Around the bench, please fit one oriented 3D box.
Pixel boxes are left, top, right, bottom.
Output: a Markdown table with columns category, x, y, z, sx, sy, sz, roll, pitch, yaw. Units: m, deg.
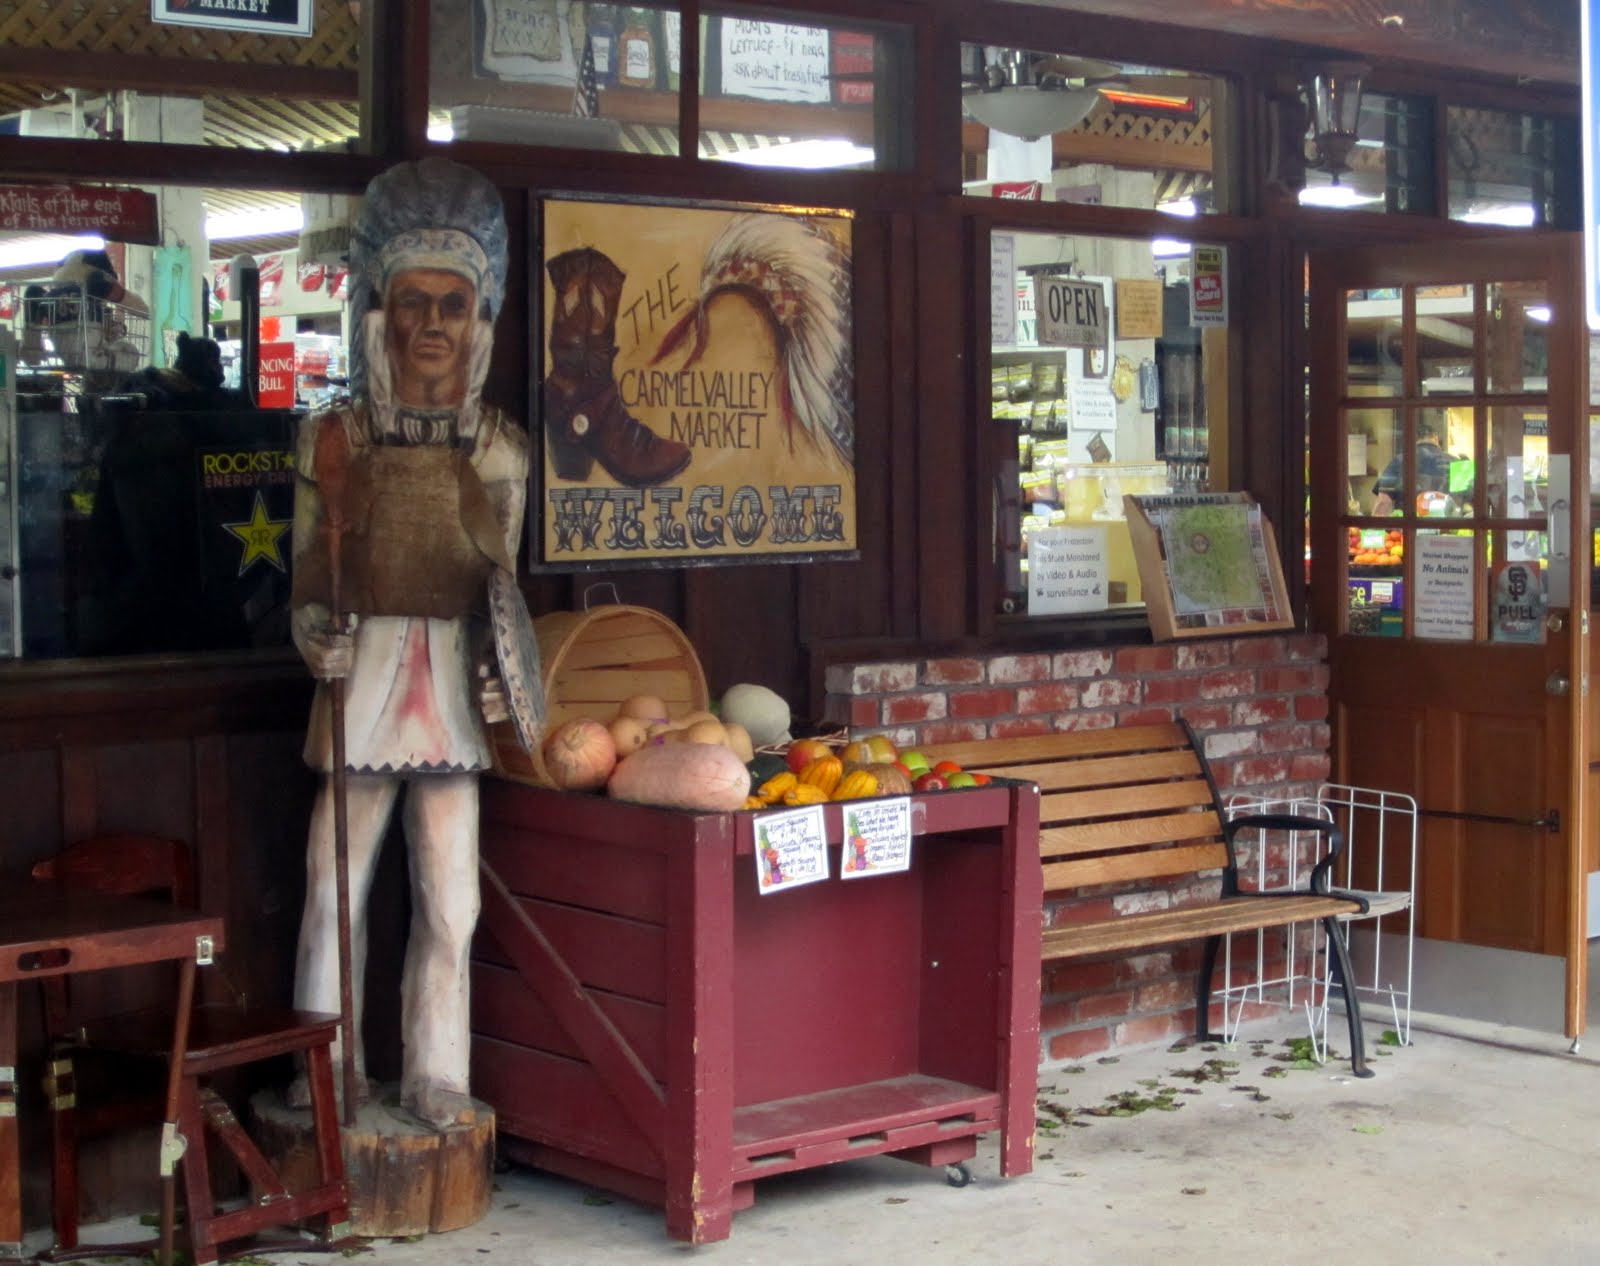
| category | x | y | z | sx | sy | sz | roll | pitch | yaw |
| --- | --- | --- | --- | --- | --- | --- | --- | --- | --- |
| bench | 1.115 | 1.118 | 5.527 | 1.914 | 1.506 | 0.874 | 0 | -1 | -37 |

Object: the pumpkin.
| category | x | y | z | sx | sy | sz | roll | pitch | yaw |
| --- | --- | --- | --- | --- | --- | --- | --- | --- | --- |
| pumpkin | -0.180 | 0.280 | 4.376 | 0.900 | 0.231 | 0.634 | -2 | 5 | -34 |

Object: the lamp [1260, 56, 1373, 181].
| category | x | y | z | sx | sy | sz | roll | pitch | yaw |
| --- | --- | --- | --- | --- | --- | --- | --- | --- | --- |
| lamp | 1.857 | -1.804 | 6.131 | 0.336 | 0.455 | 0.294 | 4 | 11 | 16 |

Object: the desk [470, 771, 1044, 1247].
| category | x | y | z | sx | sy | sz | roll | pitch | yaw |
| --- | --- | --- | --- | --- | --- | --- | --- | --- | --- |
| desk | -0.161 | 0.909 | 4.560 | 1.170 | 1.013 | 1.159 | 3 | -5 | -36 |
